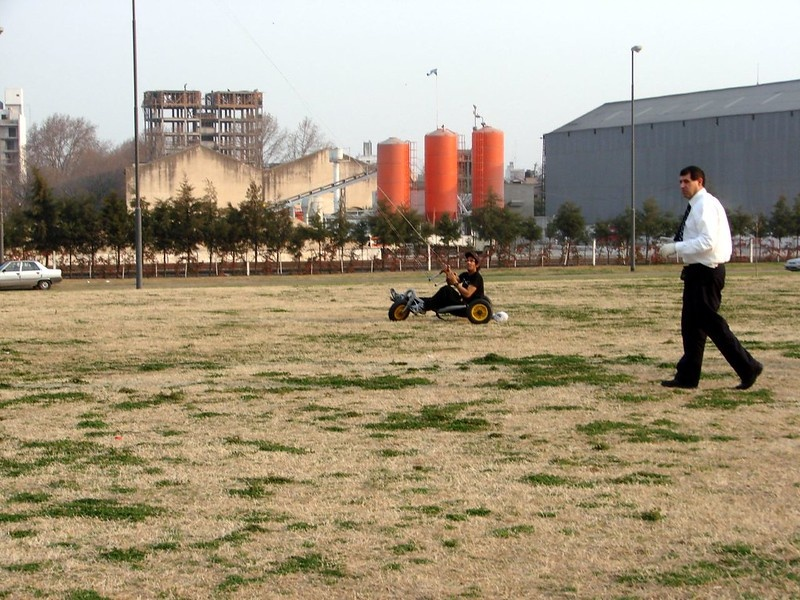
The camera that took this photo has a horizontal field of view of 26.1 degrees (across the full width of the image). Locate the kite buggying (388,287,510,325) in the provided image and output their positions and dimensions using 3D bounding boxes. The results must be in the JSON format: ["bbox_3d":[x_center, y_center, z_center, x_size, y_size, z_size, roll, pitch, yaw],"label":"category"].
[{"bbox_3d":[0.957,0.122,40.321,1.982,0.812,1.207,5,-4,8],"label":"kite buggying"}]

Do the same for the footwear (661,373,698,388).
[{"bbox_3d":[5.240,1.426,32.405,0.682,0.337,0.244,5,2,38],"label":"footwear"}]

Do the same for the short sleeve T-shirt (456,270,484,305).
[{"bbox_3d":[1.614,-0.414,40.327,0.523,0.926,0.832,7,-11,-31],"label":"short sleeve T-shirt"}]

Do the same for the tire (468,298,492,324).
[{"bbox_3d":[1.850,0.181,39.853,0.593,0.586,0.457,-2,12,-8],"label":"tire"}]

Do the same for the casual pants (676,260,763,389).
[{"bbox_3d":[5.821,0.374,32.032,1.315,2.229,0.512,1,11,9],"label":"casual pants"}]

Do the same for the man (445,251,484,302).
[{"bbox_3d":[1.536,-0.520,40.196,0.911,1.467,0.864,8,-4,-16],"label":"man"}]

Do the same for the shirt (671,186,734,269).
[{"bbox_3d":[5.586,-1.402,32.316,0.931,1.494,1.663,0,10,2],"label":"shirt"}]
